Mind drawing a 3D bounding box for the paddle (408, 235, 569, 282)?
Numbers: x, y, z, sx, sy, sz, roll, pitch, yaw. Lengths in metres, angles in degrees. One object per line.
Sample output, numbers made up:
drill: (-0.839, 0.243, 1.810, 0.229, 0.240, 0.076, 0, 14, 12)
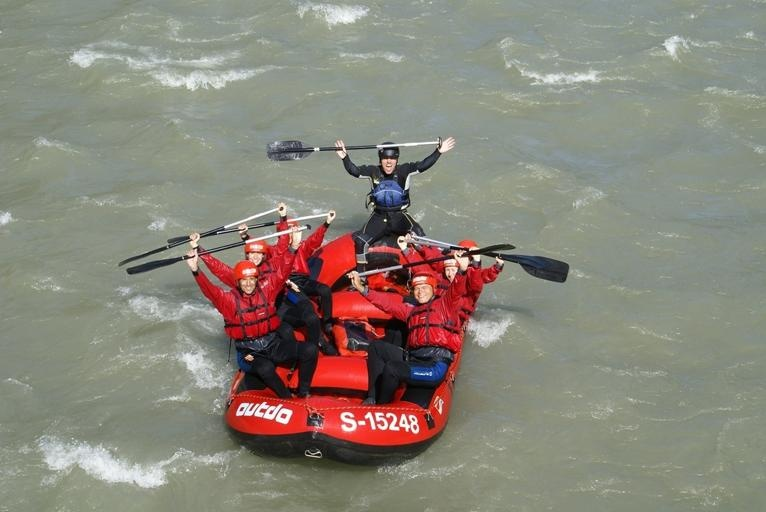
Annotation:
paddle: (2.074, 0.091, 25.862, 3.461, 0.419, 0.240, 11, 41, 7)

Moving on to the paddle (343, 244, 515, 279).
paddle: (0.749, 0.098, 25.421, 2.634, 0.093, 0.377, -11, 49, 20)
